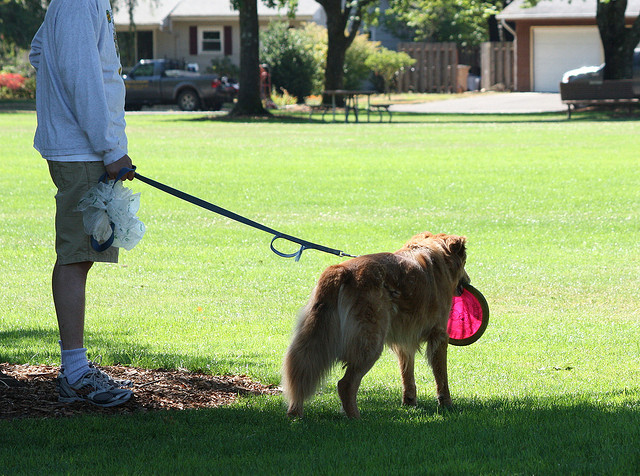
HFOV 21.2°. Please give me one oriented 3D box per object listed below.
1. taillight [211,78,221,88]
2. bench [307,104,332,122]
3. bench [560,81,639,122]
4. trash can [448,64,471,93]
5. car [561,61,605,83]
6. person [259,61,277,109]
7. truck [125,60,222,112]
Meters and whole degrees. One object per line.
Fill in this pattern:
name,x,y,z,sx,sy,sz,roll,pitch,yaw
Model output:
taillight,-4.019,-6.066,66.134,0.137,0.367,0.486,4,8,36
bench,0.006,-4.856,62.918,0.997,1.073,0.776,0,0,0
bench,9.866,-4.908,59.742,2.757,1.271,2.337,1,6,9
trash can,6.131,-6.950,73.683,1.055,1.396,1.067,0,1,-5
car,10.125,-6.439,65.218,1.531,0.793,6.531,1,7,9
person,-2.179,-6.219,68.497,0.711,2.026,0.753,-7,21,-4
truck,-5.695,-5.999,66.802,3.510,1.560,1.873,2,5,2
